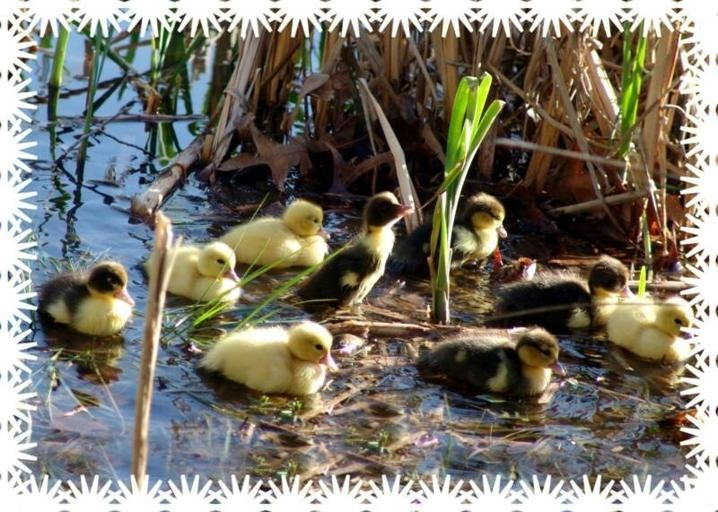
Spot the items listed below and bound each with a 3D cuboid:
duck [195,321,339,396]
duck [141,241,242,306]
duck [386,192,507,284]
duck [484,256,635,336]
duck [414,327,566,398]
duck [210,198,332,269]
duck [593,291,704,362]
[{"bbox_3d":[-0.557,0.597,4.522,0.732,0.419,0.424,17,23,-13],"label":"duck"},{"bbox_3d":[-1.210,0.108,5.340,0.738,0.441,0.417,18,18,12],"label":"duck"},{"bbox_3d":[0.668,-0.167,6.087,1.072,0.625,0.535,-11,31,-14],"label":"duck"},{"bbox_3d":[1.619,0.323,5.490,0.510,0.545,0.926,-16,8,-41],"label":"duck"},{"bbox_3d":[0.816,0.645,4.606,0.847,0.303,0.398,5,22,5],"label":"duck"},{"bbox_3d":[-0.684,-0.170,5.780,0.836,0.459,0.534,-2,23,-10],"label":"duck"},{"bbox_3d":[2.018,0.465,5.098,0.491,0.457,0.753,-3,20,-21],"label":"duck"}]
